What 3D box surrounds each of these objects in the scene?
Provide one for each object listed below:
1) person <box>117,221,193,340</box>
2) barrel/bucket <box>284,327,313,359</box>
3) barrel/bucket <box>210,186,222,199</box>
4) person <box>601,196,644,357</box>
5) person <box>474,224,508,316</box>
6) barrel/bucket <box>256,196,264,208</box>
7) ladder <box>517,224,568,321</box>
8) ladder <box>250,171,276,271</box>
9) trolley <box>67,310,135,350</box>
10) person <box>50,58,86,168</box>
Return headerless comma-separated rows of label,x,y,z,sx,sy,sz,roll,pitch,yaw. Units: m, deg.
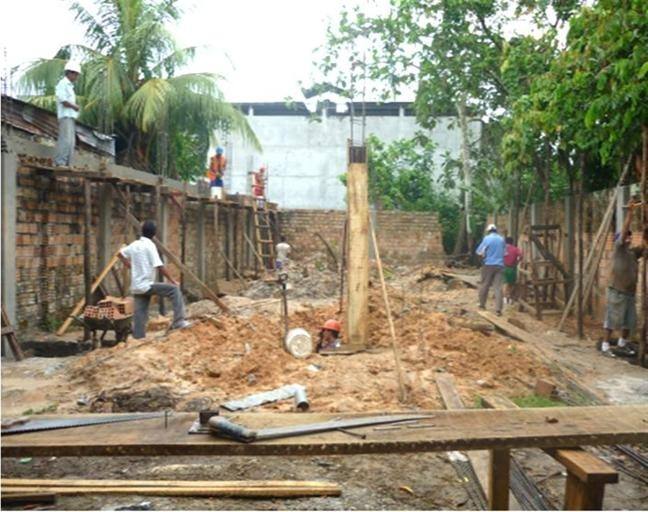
person,-2.882,0.363,12.867,0.784,2.042,1.140,0,0,37
barrel/bucket,-0.428,1.368,12.660,0.409,0.441,0.407,-15,3,1
barrel/bucket,-2.801,-1.608,19.902,0.335,0.362,0.356,-1,2,0
person,4.944,0.329,12.660,0.590,2.478,1.394,2,7,20
person,3.444,0.273,15.707,0.555,1.785,1.023,1,7,13
barrel/bucket,-2.012,-1.657,24.291,0.358,0.375,0.376,-1,-4,0
ladder,4.828,0.185,16.788,1.082,1.840,3.099,1,6,13
ladder,-1.950,-0.817,25.043,0.264,3.284,0.811,-10,18,-13
trolley,-3.751,1.182,13.144,0.849,0.643,0.905,7,2,20
person,-4.642,-2.485,13.773,0.558,2.072,0.650,1,8,-19
